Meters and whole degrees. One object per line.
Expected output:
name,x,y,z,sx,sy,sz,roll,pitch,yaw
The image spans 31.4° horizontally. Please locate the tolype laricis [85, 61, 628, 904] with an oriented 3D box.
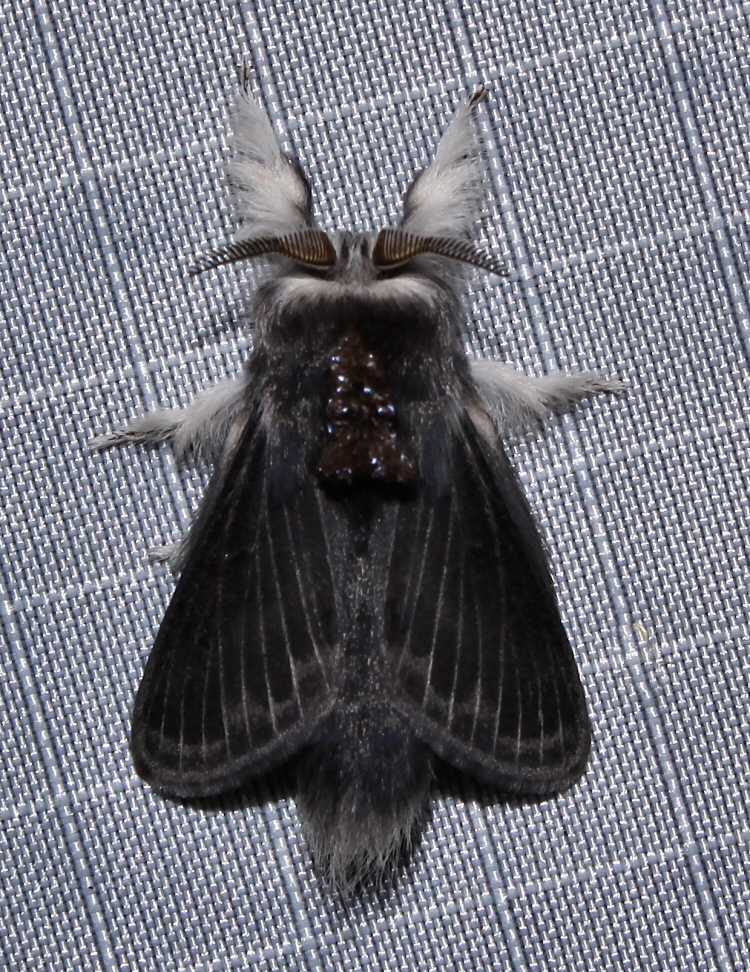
tolype laricis,-0.038,0.039,1.709,0.797,0.290,0.977,-2,91,3
